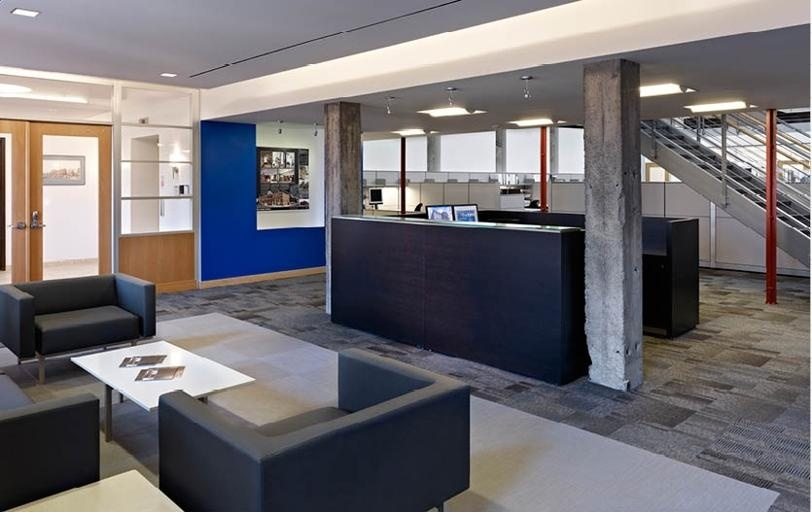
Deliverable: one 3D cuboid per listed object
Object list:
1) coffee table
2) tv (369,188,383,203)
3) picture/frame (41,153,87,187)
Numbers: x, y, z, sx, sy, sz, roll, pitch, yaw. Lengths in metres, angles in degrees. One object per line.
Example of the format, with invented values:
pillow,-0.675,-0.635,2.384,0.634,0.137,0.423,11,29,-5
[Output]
coffee table,-2.382,1.141,5.048,1.426,0.484,0.942,6,5,42
tv,-0.964,-1.805,15.472,0.492,0.419,0.231,-2,4,-39
picture/frame,-6.047,-1.495,9.054,0.722,0.456,0.027,-2,3,-30
